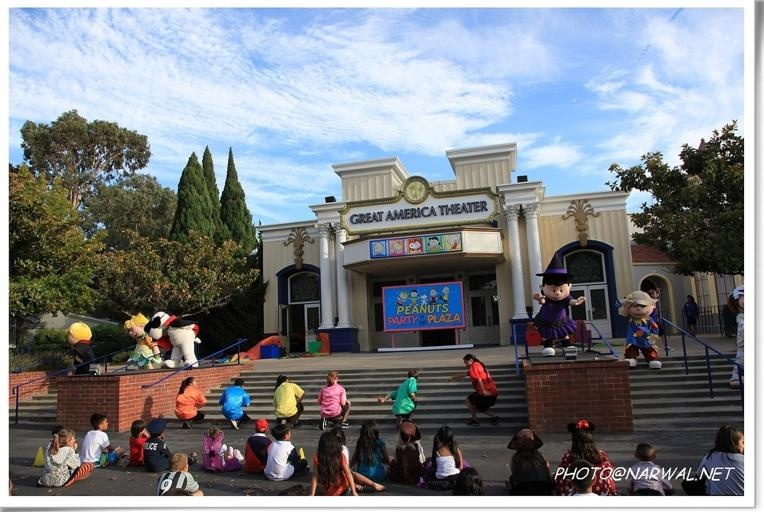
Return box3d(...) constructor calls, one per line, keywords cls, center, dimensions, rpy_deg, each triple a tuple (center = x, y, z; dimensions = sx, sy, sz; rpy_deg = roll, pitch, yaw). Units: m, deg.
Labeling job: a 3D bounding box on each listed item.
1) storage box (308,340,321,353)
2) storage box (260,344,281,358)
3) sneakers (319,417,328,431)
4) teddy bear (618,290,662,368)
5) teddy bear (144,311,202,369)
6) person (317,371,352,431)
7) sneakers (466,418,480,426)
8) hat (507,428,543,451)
box3d(cls="storage box", center=(-3.208, 4.189, 26.465), dimensions=(0.642, 0.630, 0.470), rpy_deg=(1, 3, 18))
box3d(cls="storage box", center=(-5.051, 4.288, 25.805), dimensions=(0.665, 0.488, 0.661), rpy_deg=(-1, -4, 1))
box3d(cls="sneakers", center=(-1.538, 4.266, 14.853), dimensions=(0.141, 0.415, 0.294), rpy_deg=(0, -3, 32))
box3d(cls="teddy bear", center=(7.110, 2.053, 15.692), dimensions=(0.882, 2.151, 1.180), rpy_deg=(-5, -4, 24))
box3d(cls="teddy bear", center=(-6.487, 2.626, 17.842), dimensions=(1.472, 1.718, 0.898), rpy_deg=(-3, -4, -6))
box3d(cls="person", center=(-1.389, 3.767, 15.206), dimensions=(1.157, 1.595, 1.337), rpy_deg=(0, -1, 10))
box3d(cls="sneakers", center=(2.334, 4.136, 14.370), dimensions=(0.357, 0.154, 0.131), rpy_deg=(3, -4, 35))
box3d(cls="hat", center=(2.406, 3.118, 9.720), dimensions=(0.583, 0.262, 0.752), rpy_deg=(-4, -4, 20))
